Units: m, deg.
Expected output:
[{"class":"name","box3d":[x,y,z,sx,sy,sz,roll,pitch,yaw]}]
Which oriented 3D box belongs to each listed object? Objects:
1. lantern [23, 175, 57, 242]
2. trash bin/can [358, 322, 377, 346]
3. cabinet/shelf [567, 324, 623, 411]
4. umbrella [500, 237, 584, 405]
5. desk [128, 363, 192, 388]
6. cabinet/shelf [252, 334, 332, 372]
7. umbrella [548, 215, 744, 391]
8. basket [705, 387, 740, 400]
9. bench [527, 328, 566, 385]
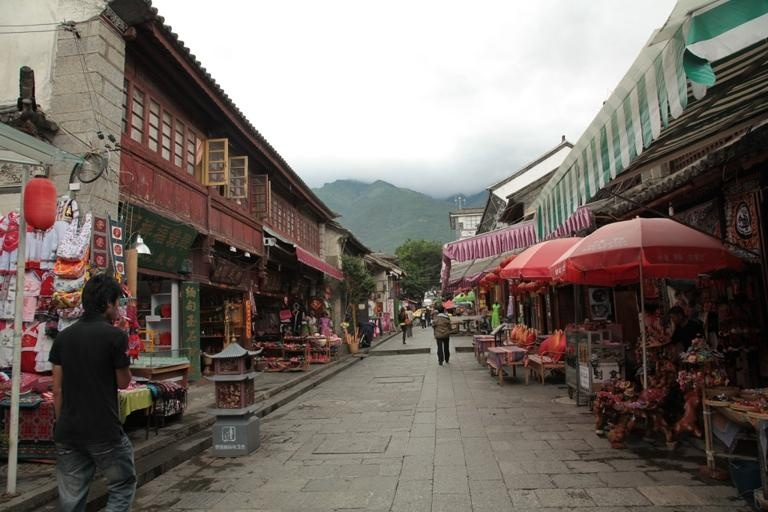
[{"class":"lantern","box3d":[-4.675,-0.749,7.770,0.387,0.743,0.365,3,-8,-38]},{"class":"trash bin/can","box3d":[-0.799,3.418,25.225,1.050,1.120,0.991,1,-13,-9]},{"class":"cabinet/shelf","box3d":[3.827,1.944,10.584,0.903,1.569,1.127,-1,-3,13]},{"class":"umbrella","box3d":[3.655,1.549,13.194,1.638,3.536,1.666,-2,-15,8]},{"class":"desk","box3d":[-4.220,2.248,10.857,0.367,0.474,1.639,-5,-12,8]},{"class":"cabinet/shelf","box3d":[-2.717,2.907,17.133,1.691,1.072,2.344,-7,-12,17]},{"class":"umbrella","box3d":[4.255,0.745,9.455,2.670,2.635,2.637,-1,-8,-2]},{"class":"basket","box3d":[4.214,1.708,7.144,0.396,0.141,0.210,-8,-13,25]},{"class":"bench","box3d":[3.909,2.346,13.794,0.772,1.174,1.791,-2,-5,3]}]
